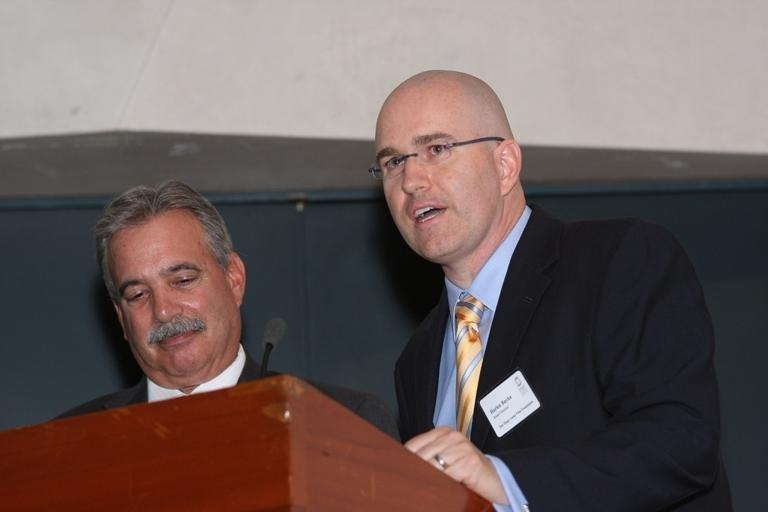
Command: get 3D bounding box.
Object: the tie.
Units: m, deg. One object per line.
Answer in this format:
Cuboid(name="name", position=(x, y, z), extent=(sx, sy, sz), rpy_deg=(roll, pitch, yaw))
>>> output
Cuboid(name="tie", position=(0.290, 0.366, 2.971), extent=(0.097, 0.075, 0.456), rpy_deg=(-11, 49, 19))
